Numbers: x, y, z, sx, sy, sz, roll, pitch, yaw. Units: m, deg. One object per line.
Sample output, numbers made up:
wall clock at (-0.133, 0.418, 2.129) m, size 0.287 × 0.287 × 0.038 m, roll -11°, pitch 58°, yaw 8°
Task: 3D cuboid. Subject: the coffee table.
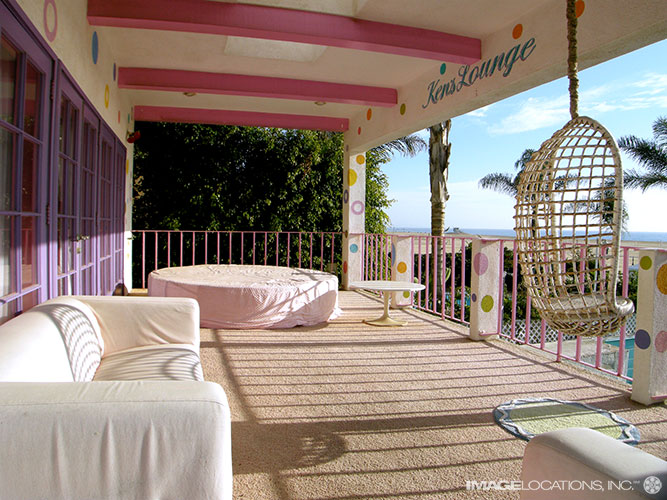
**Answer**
coffee table at (0.626, 0.566, 5.809) m, size 0.673 × 0.575 × 0.763 m, roll 1°, pitch -1°, yaw -42°
